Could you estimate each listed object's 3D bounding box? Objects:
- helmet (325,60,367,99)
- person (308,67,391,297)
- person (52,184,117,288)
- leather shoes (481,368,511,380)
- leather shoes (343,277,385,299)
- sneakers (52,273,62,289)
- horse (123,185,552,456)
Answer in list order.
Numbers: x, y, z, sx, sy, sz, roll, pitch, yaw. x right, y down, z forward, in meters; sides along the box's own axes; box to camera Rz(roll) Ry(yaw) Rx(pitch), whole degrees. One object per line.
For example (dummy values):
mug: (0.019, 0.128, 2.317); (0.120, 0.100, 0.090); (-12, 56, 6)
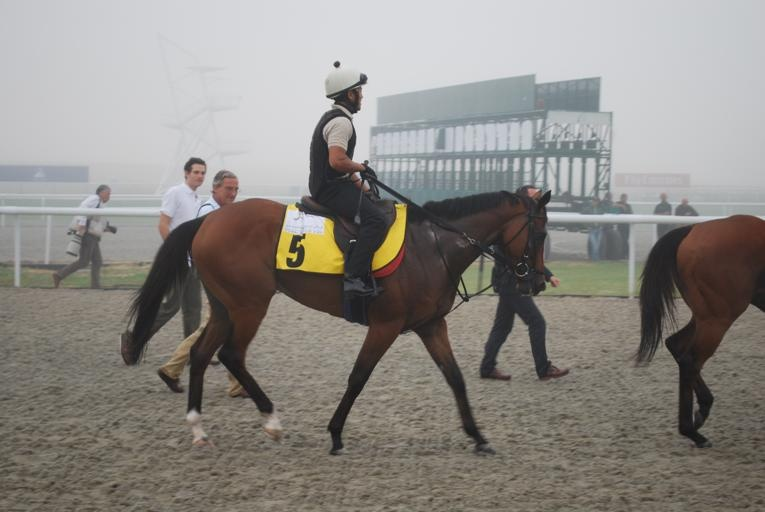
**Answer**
helmet: (-0.307, -1.394, 5.782); (0.367, 0.241, 0.278); (-16, 17, -1)
person: (-0.252, -0.591, 5.560); (0.483, 1.633, 0.823); (-5, 15, -21)
person: (-4.009, -0.166, 9.978); (0.825, 1.197, 0.847); (-5, 15, -20)
leather shoes: (1.015, 1.083, 6.846); (0.313, 0.128, 0.105); (-1, 0, 3)
leather shoes: (-0.152, 0.227, 5.419); (0.212, 0.104, 0.167); (-1, 1, 42)
sneakers: (-4.366, 0.330, 9.929); (0.095, 0.203, 0.070); (-1, 16, -6)
horse: (-0.365, 0.476, 5.915); (3.350, 2.055, 0.809); (1, 2, -1)
